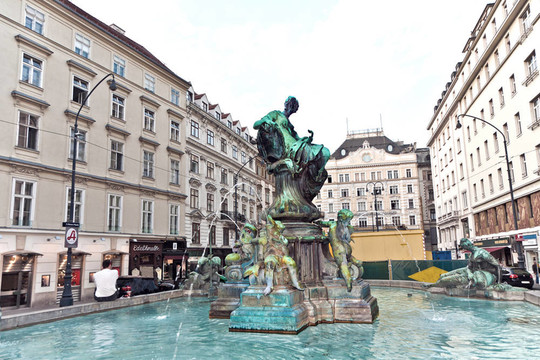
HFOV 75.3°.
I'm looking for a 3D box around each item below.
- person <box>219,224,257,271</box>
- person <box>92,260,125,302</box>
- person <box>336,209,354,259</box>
[{"bbox_3d":[-0.960,2.369,12.365,1.052,1.547,1.009,-2,-6,2],"label":"person"},{"bbox_3d":[-6.663,4.183,14.359,0.843,1.685,0.906,1,-7,-25],"label":"person"},{"bbox_3d":[2.583,1.844,11.960,0.507,1.649,0.935,-3,-6,13],"label":"person"}]
